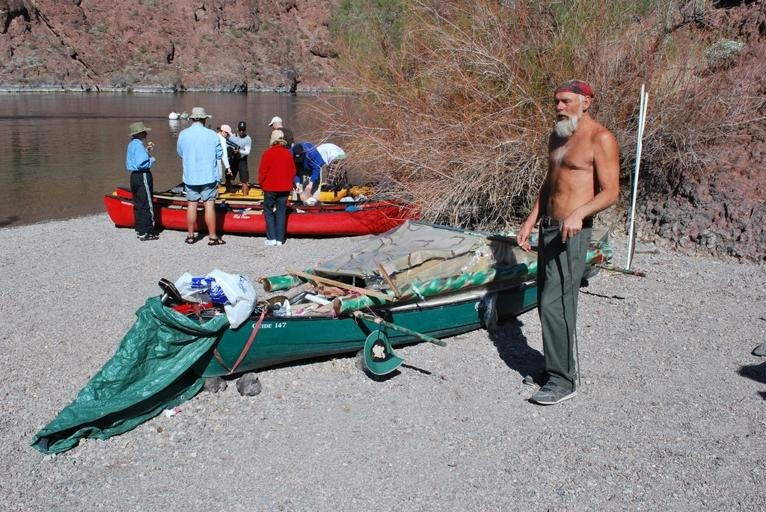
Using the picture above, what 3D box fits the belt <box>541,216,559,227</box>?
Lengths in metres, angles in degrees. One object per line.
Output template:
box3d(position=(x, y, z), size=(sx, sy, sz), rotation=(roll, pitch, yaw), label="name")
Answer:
box3d(position=(1.715, -0.348, 6.344), size=(0.108, 0.064, 0.107), rotation=(0, 12, -40), label="belt")

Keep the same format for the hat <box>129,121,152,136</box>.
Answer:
box3d(position=(-4.487, -2.309, 11.265), size=(0.231, 0.234, 0.532), rotation=(-4, 20, -14), label="hat")

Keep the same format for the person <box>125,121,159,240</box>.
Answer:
box3d(position=(-4.461, -1.382, 11.396), size=(0.462, 2.066, 0.790), rotation=(-6, 21, -20), label="person")

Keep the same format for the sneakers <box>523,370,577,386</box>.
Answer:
box3d(position=(1.905, 1.385, 7.095), size=(0.543, 0.221, 0.182), rotation=(1, 5, -24), label="sneakers")

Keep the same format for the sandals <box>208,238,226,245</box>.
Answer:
box3d(position=(-3.018, -0.260, 11.145), size=(0.307, 0.132, 0.124), rotation=(-1, 14, 0), label="sandals")

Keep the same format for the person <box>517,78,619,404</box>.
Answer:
box3d(position=(1.879, -0.064, 6.459), size=(0.803, 3.386, 0.874), rotation=(0, 20, -4), label="person")

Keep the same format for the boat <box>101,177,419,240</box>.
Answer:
box3d(position=(-2.208, -0.844, 11.458), size=(4.972, 0.887, 1.182), rotation=(1, 17, -6), label="boat")

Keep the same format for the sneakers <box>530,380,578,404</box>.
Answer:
box3d(position=(1.819, 1.469, 6.704), size=(0.546, 0.250, 0.200), rotation=(-7, 11, -7), label="sneakers")

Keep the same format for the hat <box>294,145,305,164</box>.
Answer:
box3d(position=(-1.591, -1.925, 11.611), size=(0.189, 0.303, 0.163), rotation=(7, -15, -6), label="hat")

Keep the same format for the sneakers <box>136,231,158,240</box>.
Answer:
box3d(position=(-4.392, -0.364, 11.476), size=(0.312, 0.137, 0.166), rotation=(-5, 8, -4), label="sneakers")

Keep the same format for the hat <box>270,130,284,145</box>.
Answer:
box3d(position=(-1.907, -2.112, 10.990), size=(0.246, 0.162, 0.322), rotation=(-4, 27, -23), label="hat")
